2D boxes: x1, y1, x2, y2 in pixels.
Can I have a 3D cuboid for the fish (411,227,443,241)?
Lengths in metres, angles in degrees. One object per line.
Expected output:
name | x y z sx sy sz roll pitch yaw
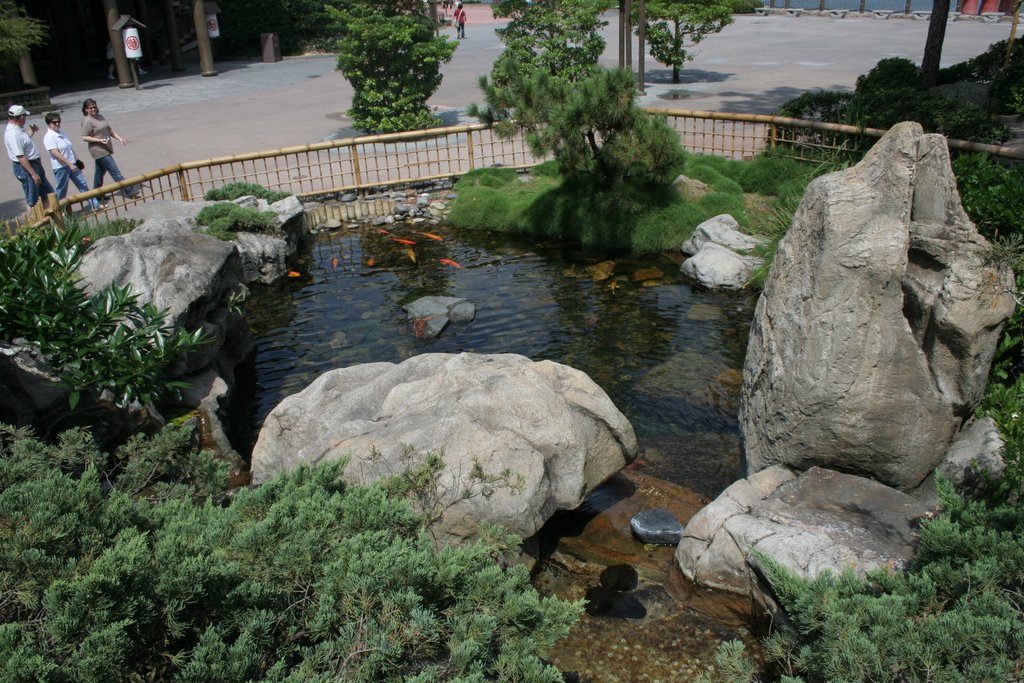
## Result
fish | -2.243 -2.920 18.489 0.898 0.250 0.334 16 4 33

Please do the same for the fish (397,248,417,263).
fish | -2.625 -2.243 17.414 0.166 0.422 0.417 -40 -3 -3

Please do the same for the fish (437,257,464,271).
fish | -1.514 -1.937 16.783 0.303 0.146 0.508 -21 23 -38

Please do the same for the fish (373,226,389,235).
fish | -3.626 -3.141 19.068 0.191 0.210 0.510 -15 18 -13

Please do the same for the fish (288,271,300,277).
fish | -5.316 -1.680 16.684 0.311 0.092 0.354 -9 24 -17

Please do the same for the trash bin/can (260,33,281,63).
trash bin/can | -14.778 -18.084 41.772 0.990 1.594 0.852 -10 25 -19

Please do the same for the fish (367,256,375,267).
fish | -3.539 -2.044 17.163 0.210 0.104 0.270 0 36 -4
